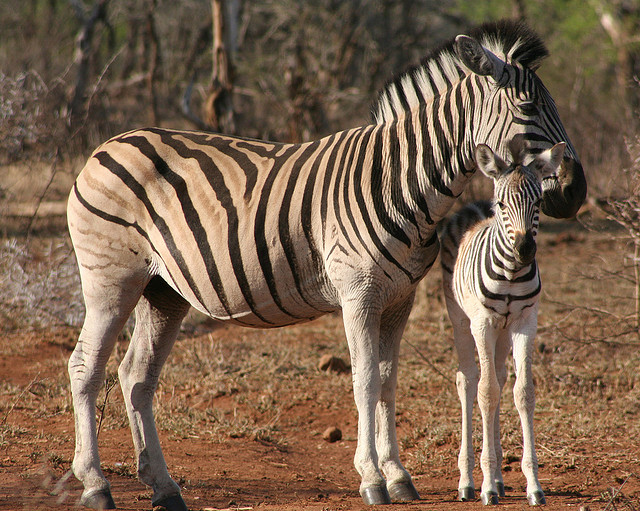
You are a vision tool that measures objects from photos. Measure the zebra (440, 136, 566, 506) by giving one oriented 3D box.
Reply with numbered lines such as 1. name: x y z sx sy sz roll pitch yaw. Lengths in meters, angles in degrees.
1. zebra: 1.979 0.774 14.838 1.052 3.951 1.616 6 -11 -4

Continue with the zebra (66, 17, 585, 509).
1. zebra: 0.033 0.305 16.022 4.613 5.224 1.661 -2 -13 10
